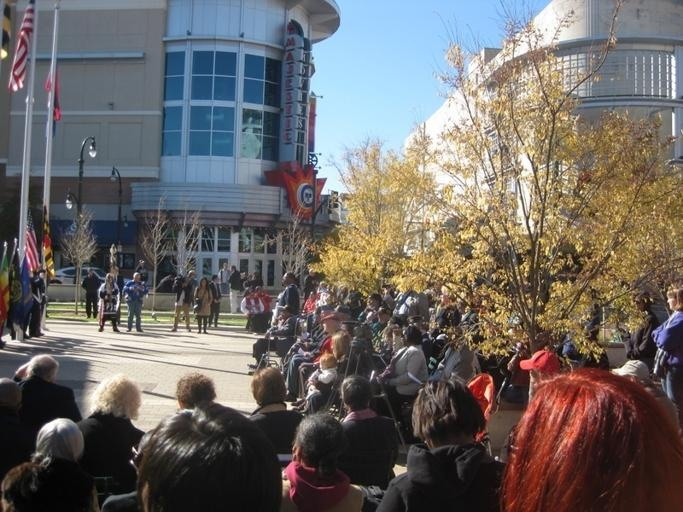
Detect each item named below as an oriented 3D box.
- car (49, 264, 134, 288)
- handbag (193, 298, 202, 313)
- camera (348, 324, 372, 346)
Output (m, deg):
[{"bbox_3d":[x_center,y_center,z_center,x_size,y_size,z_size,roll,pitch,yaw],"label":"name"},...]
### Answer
[{"bbox_3d":[-13.717,1.009,37.138,3.357,1.627,1.739,1,-1,-5],"label":"car"},{"bbox_3d":[-4.565,1.589,23.123,0.124,0.404,0.241,12,-8,-38],"label":"handbag"},{"bbox_3d":[0.258,1.074,9.915,0.262,0.343,0.250,-2,1,6],"label":"camera"}]
